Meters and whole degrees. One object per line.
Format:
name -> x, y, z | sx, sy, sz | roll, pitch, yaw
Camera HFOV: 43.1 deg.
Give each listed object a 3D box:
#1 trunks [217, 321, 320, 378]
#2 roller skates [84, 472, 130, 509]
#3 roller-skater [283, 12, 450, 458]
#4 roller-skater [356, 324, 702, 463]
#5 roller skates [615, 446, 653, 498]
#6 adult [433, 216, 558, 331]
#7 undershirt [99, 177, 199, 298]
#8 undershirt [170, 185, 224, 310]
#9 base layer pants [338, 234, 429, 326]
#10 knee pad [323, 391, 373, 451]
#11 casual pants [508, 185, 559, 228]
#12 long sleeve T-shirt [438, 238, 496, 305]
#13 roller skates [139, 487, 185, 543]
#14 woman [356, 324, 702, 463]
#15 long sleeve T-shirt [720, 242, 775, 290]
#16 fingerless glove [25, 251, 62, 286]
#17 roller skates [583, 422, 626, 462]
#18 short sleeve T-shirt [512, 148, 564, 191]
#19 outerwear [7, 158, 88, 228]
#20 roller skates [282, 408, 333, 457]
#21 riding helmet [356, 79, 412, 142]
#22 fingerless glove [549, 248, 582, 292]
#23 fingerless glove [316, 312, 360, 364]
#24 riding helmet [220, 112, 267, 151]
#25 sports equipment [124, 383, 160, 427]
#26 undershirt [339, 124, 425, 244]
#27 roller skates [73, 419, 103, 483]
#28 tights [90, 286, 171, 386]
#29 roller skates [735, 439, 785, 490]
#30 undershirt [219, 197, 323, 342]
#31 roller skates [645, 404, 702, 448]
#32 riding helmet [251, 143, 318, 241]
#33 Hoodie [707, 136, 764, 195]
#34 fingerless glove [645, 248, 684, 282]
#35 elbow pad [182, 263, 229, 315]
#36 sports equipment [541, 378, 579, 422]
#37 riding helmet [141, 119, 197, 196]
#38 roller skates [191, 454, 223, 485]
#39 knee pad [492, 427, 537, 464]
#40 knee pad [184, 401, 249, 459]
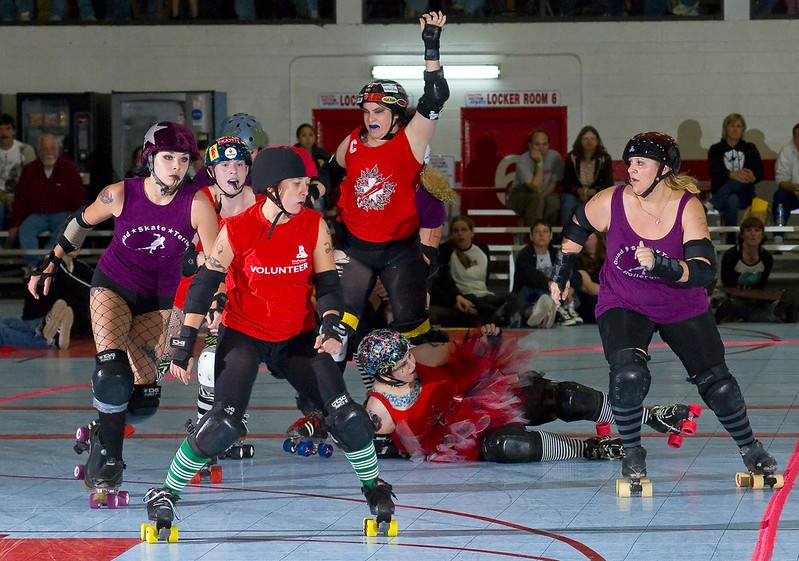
trunks -> -0.805, 0.426, 6.015 | 0.379, 0.397, 0.124 | 1, 47, -14
roller skates -> -1.842, 1.332, 6.463 | 0.236, 0.232, 0.440 | 0, -14, -14
roller-skater -> -0.160, -0.330, 7.658 | 1.487, 3.279, 0.883 | 4, 17, 6
roller-skater -> 0.650, 0.858, 7.097 | 1.665, 0.719, 1.159 | 1, 19, 14
roller skates -> 1.502, 1.191, 6.419 | 0.225, 0.271, 0.235 | 1, 8, 13
adult -> 1.100, -0.108, 12.331 | 0.858, 1.448, 1.852 | -10, 10, -25
undershirt -> -1.594, -0.276, 6.491 | 0.486, 0.647, 0.348 | 18, 22, -13
undershirt -> -1.391, -0.223, 6.881 | 0.246, 0.729, 0.532 | 10, -18, -13
base layer pants -> -0.109, -0.036, 7.481 | 0.657, 0.831, 0.312 | 0, 0, -2
knee pad -> -0.292, 0.809, 5.943 | 0.239, 0.347, 0.145 | -27, -5, -10
casual pants -> 1.906, -0.909, 14.052 | 0.546, 0.418, 1.046 | 14, -5, -15
long sleeve T-shirt -> 0.906, -0.126, 12.842 | 0.783, 0.784, 0.461 | -10, 0, -28
roller skates -> -1.356, 1.339, 5.734 | 0.134, 0.195, 0.382 | 1, 3, -8
woman -> 0.684, 0.836, 7.110 | 1.665, 0.719, 1.159 | 1, 19, 14
long sleeve T-shirt -> 4.522, -0.148, 12.978 | 0.566, 0.573, 0.337 | -2, 7, 13
fingerless glove -> -2.339, -0.062, 6.687 | 0.089, 0.259, 0.161 | 17, -28, 44
roller skates -> 1.383, 1.132, 7.153 | 0.135, 0.203, 0.413 | -4, -1, -44
short sleeve T-shirt -> 1.970, -1.501, 13.962 | 0.624, 0.633, 0.365 | -11, 41, 2
outerwear -> -4.637, -1.153, 13.278 | 1.183, 1.030, 0.633 | 0, 12, -7
roller skates -> -0.572, 1.110, 7.344 | 0.171, 0.305, 0.580 | 0, -1, 26
riding helmet -> -0.108, -1.239, 7.569 | 0.423, 0.489, 0.359 | 1, -8, -19
fingerless glove -> 1.166, -0.079, 6.968 | 0.176, 0.261, 0.147 | 8, 7, -17
fingerless glove -> -0.383, 0.297, 6.122 | 0.252, 0.380, 0.155 | 0, -1, -15
riding helmet -> -1.137, -1.112, 7.498 | 0.232, 0.309, 0.321 | 11, 27, 24
sports equipment -> -1.709, 0.800, 6.680 | 0.200, 0.275, 0.274 | 2, 5, -18
undershirt -> -0.158, -0.750, 7.641 | 0.602, 0.860, 0.458 | 3, 10, 22
roller skates -> -2.038, 1.122, 6.647 | 0.213, 0.439, 0.208 | -4, -1, -44
tights -> -1.750, 0.345, 6.580 | 0.571, 0.598, 0.185 | 24, -15, -31
roller skates -> 2.321, 1.157, 6.508 | 0.307, 0.279, 0.181 | -1, 8, -1
undershirt -> -0.768, -0.061, 6.139 | 0.583, 0.794, 0.434 | -1, 10, -18
roller skates -> 1.876, 0.949, 6.908 | 0.380, 0.251, 0.132 | -4, 0, 29
riding helmet -> -0.618, -0.553, 6.121 | 0.457, 0.657, 0.432 | -7, 4, 4
Hoodie -> 4.688, -1.509, 14.118 | 0.714, 0.905, 0.611 | -2, 10, 6
fingerless glove -> 1.650, -0.096, 6.221 | 0.192, 0.168, 0.088 | 24, -25, -10
elbow pad -> -1.143, 0.050, 5.981 | 0.245, 0.291, 0.083 | -2, 8, -10
sports equipment -> 1.110, 0.851, 7.223 | 0.321, 0.319, 0.263 | 6, -11, 16
riding helmet -> -1.493, -0.783, 6.495 | 0.338, 0.513, 0.438 | 0, -5, -36
roller skates -> -1.268, 1.250, 6.799 | 0.183, 0.101, 0.185 | -1, -2, -2
knee pad -> 0.817, 1.114, 6.981 | 0.344, 0.217, 0.107 | 0, 8, 5
knee pad -> -1.026, 0.861, 5.887 | 0.333, 0.264, 0.150 | -34, -27, 18
